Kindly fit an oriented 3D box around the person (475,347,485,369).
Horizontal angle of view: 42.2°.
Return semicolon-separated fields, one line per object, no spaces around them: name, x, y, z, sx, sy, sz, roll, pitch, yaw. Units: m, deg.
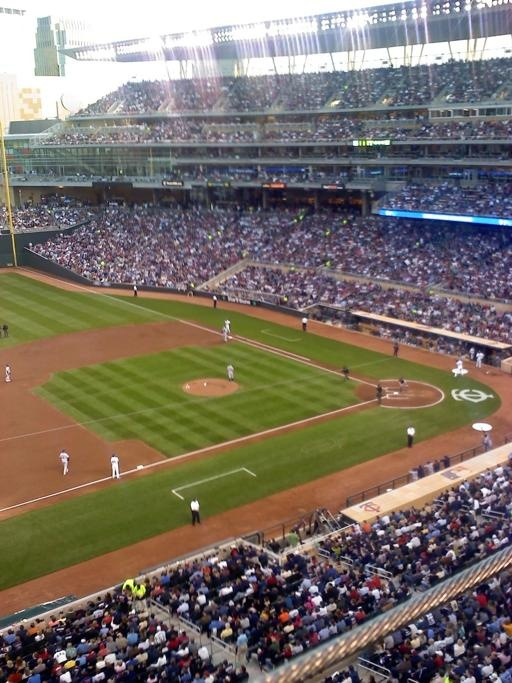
person;13.947;1.086;41.499;0.594;1.018;0.935;-6;5;24
